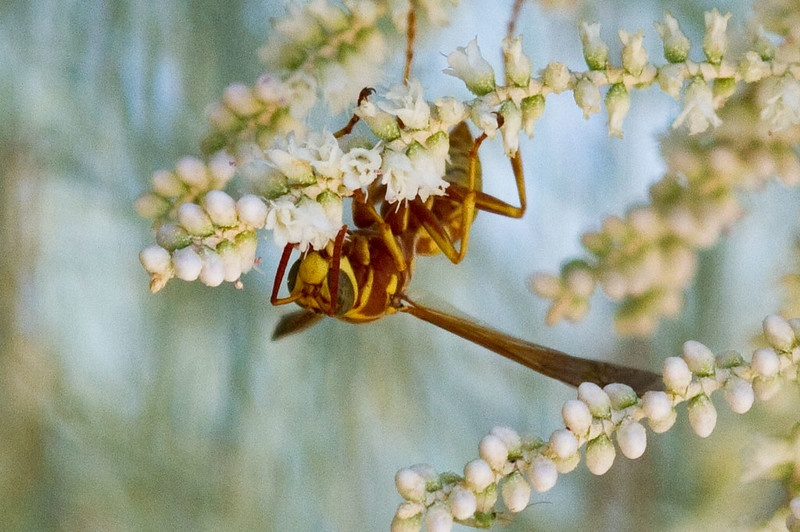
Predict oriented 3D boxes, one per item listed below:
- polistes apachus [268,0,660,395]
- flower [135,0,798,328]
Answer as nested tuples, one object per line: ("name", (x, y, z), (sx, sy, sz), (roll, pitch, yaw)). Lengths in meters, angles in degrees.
("polistes apachus", (-0.007, -0.053, 1.703), (0.299, 0.184, 0.352), (-33, 5, -36))
("flower", (0.069, -0.158, 1.684), (0.769, 0.308, 0.327), (-15, 46, -6))
